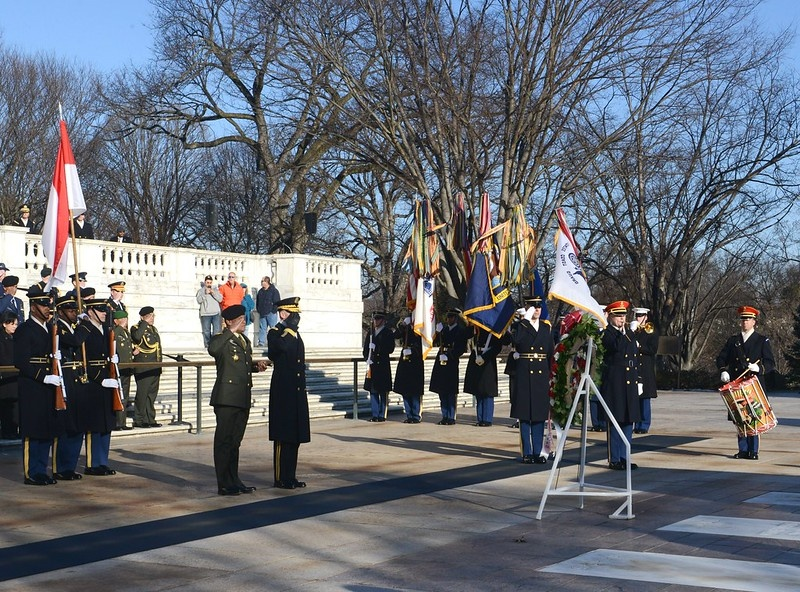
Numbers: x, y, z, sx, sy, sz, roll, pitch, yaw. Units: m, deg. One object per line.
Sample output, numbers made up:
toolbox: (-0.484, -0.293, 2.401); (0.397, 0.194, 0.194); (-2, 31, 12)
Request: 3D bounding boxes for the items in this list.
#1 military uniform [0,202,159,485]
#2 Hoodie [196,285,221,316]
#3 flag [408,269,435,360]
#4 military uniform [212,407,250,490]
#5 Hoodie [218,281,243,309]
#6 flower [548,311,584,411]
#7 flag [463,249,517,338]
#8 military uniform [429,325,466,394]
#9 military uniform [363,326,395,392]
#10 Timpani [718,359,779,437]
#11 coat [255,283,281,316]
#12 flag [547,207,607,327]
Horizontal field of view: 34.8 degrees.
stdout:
military uniform: (-5.202, 1.435, 19.980); (0.663, 2.993, 1.569); (-2, -4, 44)
Hoodie: (-4.857, 0.144, 32.640); (0.820, 0.858, 0.536); (2, -18, -19)
flag: (0.463, 0.450, 26.597); (0.555, 1.715, 0.668); (1, -3, 0)
military uniform: (-2.513, 2.287, 18.899); (0.486, 1.285, 0.436); (2, -3, -8)
Hoodie: (-4.113, 0.003, 31.118); (0.695, 0.716, 0.417); (5, -13, -33)
flower: (2.439, 0.951, 18.758); (0.445, 1.187, 0.964); (2, 20, 16)
flag: (1.690, -0.120, 24.625); (1.066, 2.147, 0.292); (-5, 29, 3)
military uniform: (1.035, 1.340, 26.461); (0.720, 1.494, 0.689); (1, -3, -4)
military uniform: (-0.448, 1.342, 26.873); (0.625, 1.437, 0.517); (1, -3, 11)
Timpani: (5.839, 1.868, 21.358); (0.693, 0.863, 0.670); (-18, 2, -19)
coat: (-3.479, 0.122, 33.722); (0.557, 0.866, 1.004); (1, -3, -6)
flag: (2.672, -0.444, 19.198); (0.817, 1.853, 1.379); (1, -3, 6)
